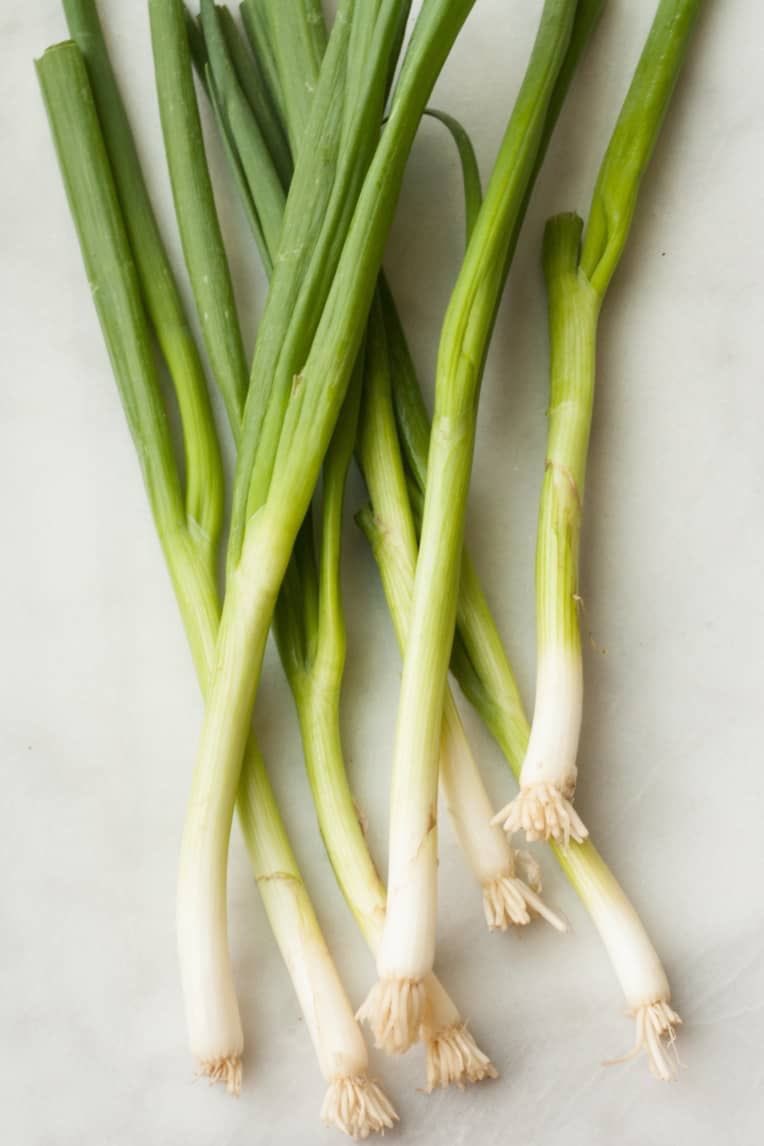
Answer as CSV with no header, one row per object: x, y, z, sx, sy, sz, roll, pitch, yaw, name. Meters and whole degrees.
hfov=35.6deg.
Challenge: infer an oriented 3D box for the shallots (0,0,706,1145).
-0.040,-0.029,0.885,0.529,0.617,0.511,5,36,21,shallots
